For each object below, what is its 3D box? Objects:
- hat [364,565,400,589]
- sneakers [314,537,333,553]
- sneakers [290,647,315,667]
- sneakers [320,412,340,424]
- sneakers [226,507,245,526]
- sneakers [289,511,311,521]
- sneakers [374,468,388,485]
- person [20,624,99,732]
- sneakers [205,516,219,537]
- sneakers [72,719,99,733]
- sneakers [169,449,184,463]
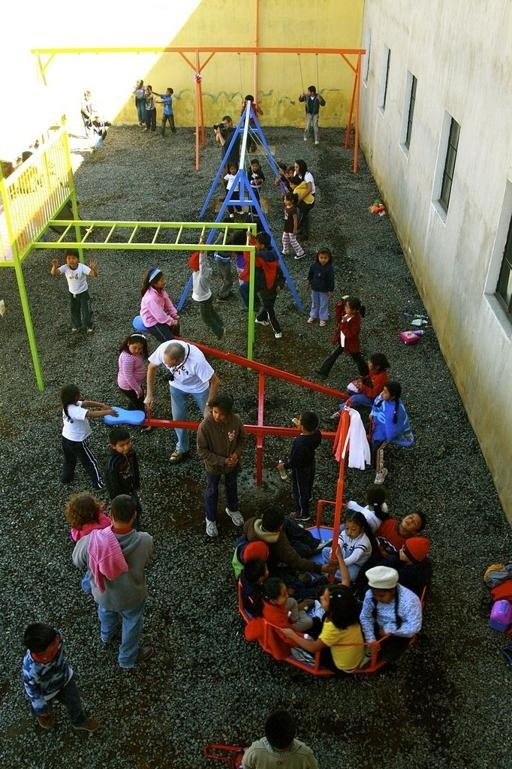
[{"bbox_3d":[0.742,1.148,3.361,0.182,0.133,0.140,6,32,7],"label":"hat"},{"bbox_3d":[0.535,1.255,4.456,0.055,0.123,0.177,13,75,32],"label":"sneakers"},{"bbox_3d":[0.304,1.726,3.606,0.053,0.043,0.182,6,8,-19],"label":"sneakers"},{"bbox_3d":[0.824,0.355,6.325,0.263,0.115,0.099,2,39,-1],"label":"sneakers"},{"bbox_3d":[-0.176,1.165,5.039,0.100,0.079,0.201,-34,81,-39],"label":"sneakers"},{"bbox_3d":[0.390,1.149,5.011,0.185,0.095,0.077,8,35,3],"label":"sneakers"},{"bbox_3d":[1.204,0.857,5.478,0.081,0.083,0.195,-10,41,44],"label":"sneakers"},{"bbox_3d":[-1.074,1.616,3.061,0.215,1.130,0.225,9,32,13],"label":"person"},{"bbox_3d":[-0.381,1.224,4.899,0.080,0.072,0.179,-3,35,-17],"label":"sneakers"},{"bbox_3d":[-1.001,2.022,3.364,0.168,0.121,0.076,-2,63,-17],"label":"sneakers"},{"bbox_3d":[-0.805,0.729,5.762,0.085,0.074,0.173,4,24,6],"label":"sneakers"}]
